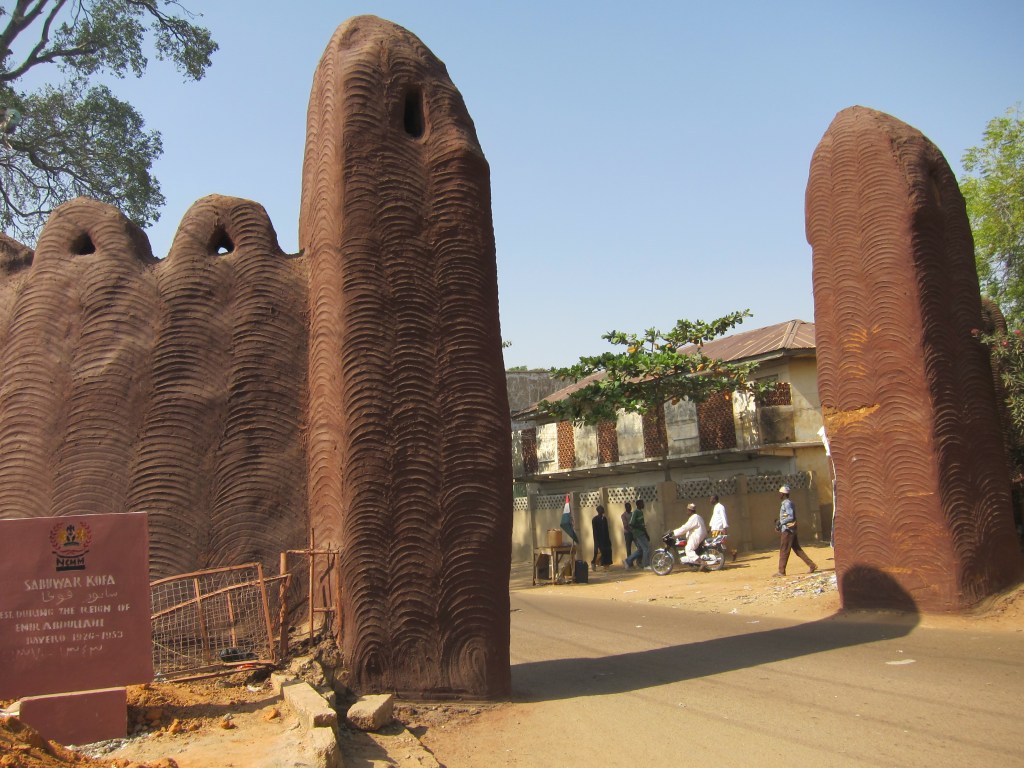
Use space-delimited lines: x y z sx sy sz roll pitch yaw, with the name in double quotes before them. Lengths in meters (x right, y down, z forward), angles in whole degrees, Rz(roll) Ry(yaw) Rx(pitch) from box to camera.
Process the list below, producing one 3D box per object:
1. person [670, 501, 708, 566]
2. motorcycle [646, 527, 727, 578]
"person" 4.430 3.766 20.109 0.789 1.470 1.598 -8 -13 9
"motorcycle" 4.356 4.273 19.986 1.576 1.018 0.999 0 -8 11
